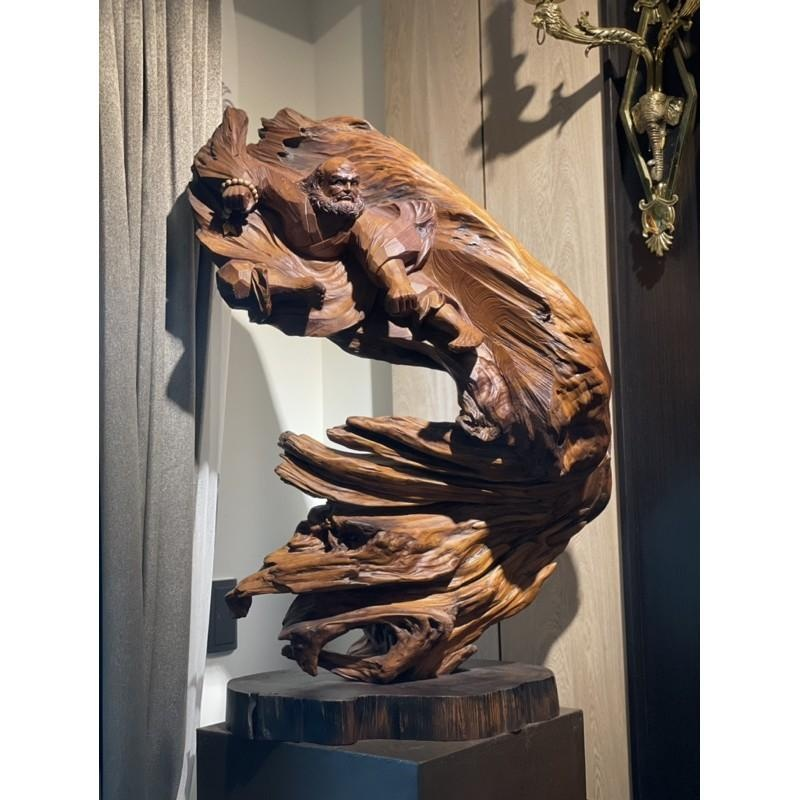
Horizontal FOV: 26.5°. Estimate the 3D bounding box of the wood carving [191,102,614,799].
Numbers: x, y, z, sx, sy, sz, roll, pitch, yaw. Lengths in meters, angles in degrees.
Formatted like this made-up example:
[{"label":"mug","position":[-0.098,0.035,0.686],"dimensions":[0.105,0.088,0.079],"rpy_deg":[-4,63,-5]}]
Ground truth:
[{"label":"wood carving","position":[0.011,-0.017,2.387],"dimensions":[0.612,0.798,0.360],"rpy_deg":[0,-21,-4]}]
